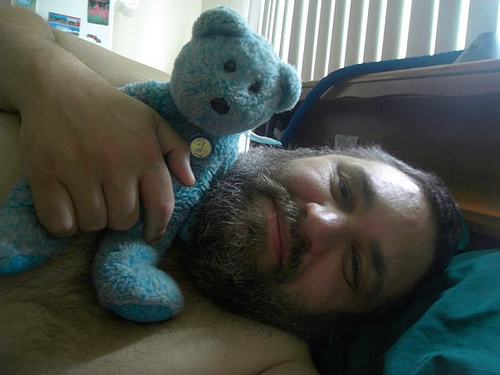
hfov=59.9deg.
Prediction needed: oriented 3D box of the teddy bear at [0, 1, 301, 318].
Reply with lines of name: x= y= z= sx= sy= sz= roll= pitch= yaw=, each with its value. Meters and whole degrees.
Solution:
teddy bear: x=-0.198 y=-0.058 z=0.838 sx=0.492 sy=0.611 sz=0.273 roll=4 pitch=19 yaw=-31
